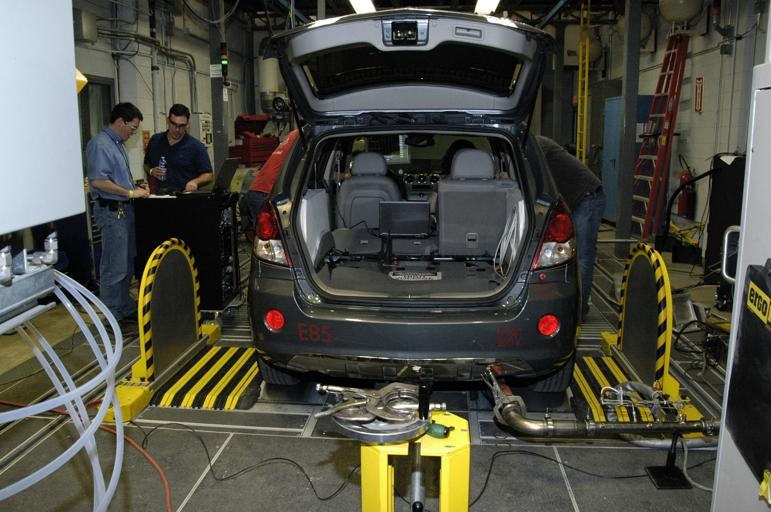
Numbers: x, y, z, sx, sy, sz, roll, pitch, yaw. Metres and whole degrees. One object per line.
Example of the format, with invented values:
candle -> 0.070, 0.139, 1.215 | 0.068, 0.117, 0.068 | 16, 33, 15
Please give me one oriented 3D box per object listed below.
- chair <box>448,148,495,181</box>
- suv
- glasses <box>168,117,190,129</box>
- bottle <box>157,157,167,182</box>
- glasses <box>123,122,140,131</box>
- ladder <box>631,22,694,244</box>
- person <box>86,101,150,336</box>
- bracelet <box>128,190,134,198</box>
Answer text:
chair -> 0.684, -0.717, 4.724 | 0.301, 0.227, 0.232 | 0, 1, 1
suv -> 0.219, -0.802, 4.607 | 1.764, 1.828, 3.111 | 0, 28, 3
glasses -> -2.252, -1.445, 6.424 | 0.120, 0.062, 0.160 | 0, -2, -10
bottle -> -2.461, -0.949, 6.469 | 0.097, 0.269, 0.237 | -4, 15, -20
glasses -> -2.572, -1.309, 5.912 | 0.135, 0.059, 0.131 | 8, 8, 42
ladder -> 4.637, -1.937, 9.922 | 0.581, 3.489, 1.391 | 6, 15, 20
person -> -2.617, -0.400, 5.788 | 0.504, 2.136, 0.799 | -5, 15, -26
bracelet -> -2.436, -0.591, 5.610 | 0.038, 0.093, 0.066 | 4, -17, -40
